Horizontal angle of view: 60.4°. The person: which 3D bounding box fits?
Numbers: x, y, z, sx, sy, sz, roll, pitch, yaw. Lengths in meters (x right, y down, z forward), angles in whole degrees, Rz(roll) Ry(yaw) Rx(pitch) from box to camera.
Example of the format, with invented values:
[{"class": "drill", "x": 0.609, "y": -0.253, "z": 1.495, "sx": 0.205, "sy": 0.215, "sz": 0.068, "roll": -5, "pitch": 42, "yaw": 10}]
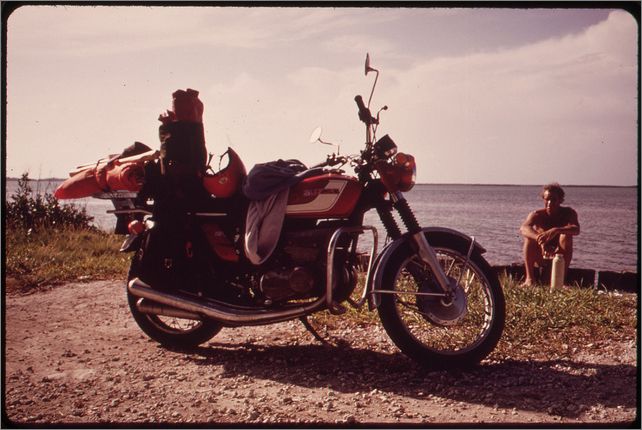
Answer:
[{"class": "person", "x": 3.352, "y": 0.295, "z": 8.045, "sx": 0.781, "sy": 1.500, "sz": 0.698, "roll": 1, "pitch": 7, "yaw": 20}]
